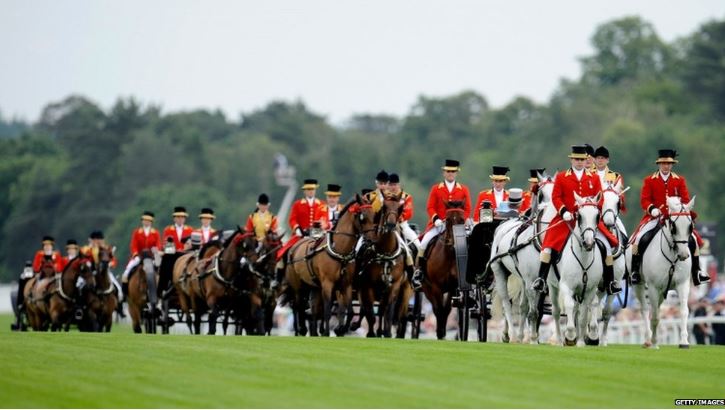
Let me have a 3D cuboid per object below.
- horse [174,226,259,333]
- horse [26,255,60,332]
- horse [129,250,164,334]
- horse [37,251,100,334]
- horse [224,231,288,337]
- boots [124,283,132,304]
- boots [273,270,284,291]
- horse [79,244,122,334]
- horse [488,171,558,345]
[{"bbox_3d":[-4.422,2.409,43.979,1.064,3.040,3.101,9,-16,-40],"label":"horse"},{"bbox_3d":[-10.000,2.913,47.003,1.184,2.229,1.203,1,-1,-28],"label":"horse"},{"bbox_3d":[-6.869,2.994,47.617,1.473,2.832,5.314,-2,-2,-10],"label":"horse"},{"bbox_3d":[-9.551,3.040,46.594,1.561,2.506,4.344,4,-11,-35],"label":"horse"},{"bbox_3d":[-3.779,2.366,43.951,1.695,3.137,2.721,1,-1,-5],"label":"horse"},{"bbox_3d":[-7.484,2.817,46.646,0.203,0.717,0.438,5,3,-14],"label":"boots"},{"bbox_3d":[-2.607,2.244,43.981,0.176,0.672,0.387,10,29,6],"label":"boots"},{"bbox_3d":[-8.174,2.664,45.807,1.084,2.916,2.207,0,-13,-9],"label":"horse"},{"bbox_3d":[4.550,1.678,41.235,2.672,5.264,1.296,7,-6,-38],"label":"horse"}]
